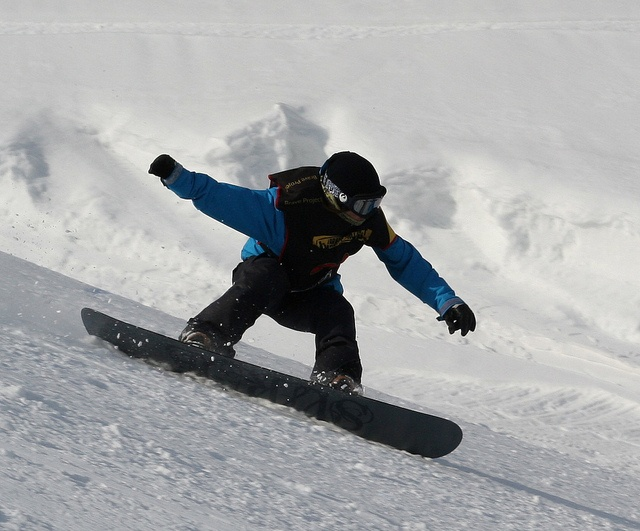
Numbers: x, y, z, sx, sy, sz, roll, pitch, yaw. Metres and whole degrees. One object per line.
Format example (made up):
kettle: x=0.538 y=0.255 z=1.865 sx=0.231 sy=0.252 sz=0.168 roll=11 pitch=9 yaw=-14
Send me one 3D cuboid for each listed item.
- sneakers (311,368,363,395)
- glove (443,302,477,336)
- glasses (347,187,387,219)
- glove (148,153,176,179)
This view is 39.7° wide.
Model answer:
sneakers: x=0.104 y=0.749 z=5.602 sx=0.406 sy=0.113 sz=0.121 roll=13 pitch=54 yaw=18
glove: x=0.947 y=0.370 z=6.018 sx=0.113 sy=0.199 sz=0.230 roll=-3 pitch=54 yaw=-51
glasses: x=0.322 y=-0.402 z=5.748 sx=0.221 sy=0.102 sz=0.262 roll=-1 pitch=24 yaw=-45
glove: x=-1.002 y=-0.614 z=5.593 sx=0.167 sy=0.172 sz=0.175 roll=-4 pitch=26 yaw=-31
